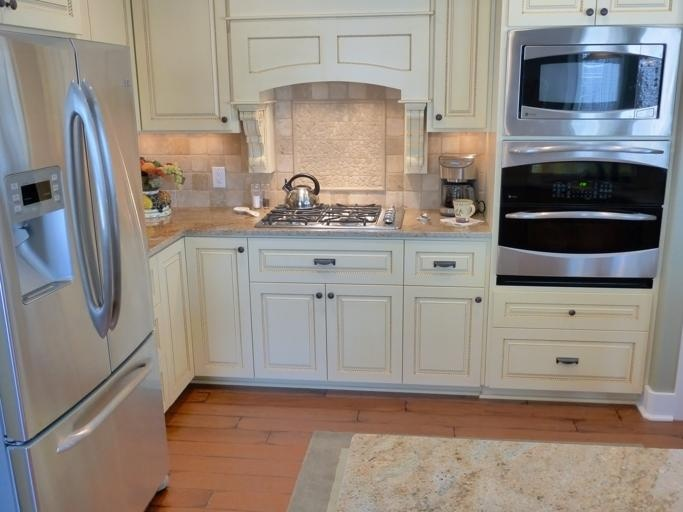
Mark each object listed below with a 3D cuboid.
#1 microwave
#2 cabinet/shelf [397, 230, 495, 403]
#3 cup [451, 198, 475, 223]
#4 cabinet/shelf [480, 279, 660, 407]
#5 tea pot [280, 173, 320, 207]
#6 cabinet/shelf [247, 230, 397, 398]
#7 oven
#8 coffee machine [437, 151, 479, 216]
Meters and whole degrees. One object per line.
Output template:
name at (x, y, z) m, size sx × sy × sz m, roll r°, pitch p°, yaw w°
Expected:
microwave at (1.551, -1.058, 3.014) m, size 0.874 × 0.514 × 0.517 m, roll 17°, pitch 33°, yaw 42°
cabinet/shelf at (0.684, 0.354, 3.449) m, size 0.665 × 1.043 × 0.633 m, roll -3°, pitch 12°, yaw -8°
cup at (0.774, -0.295, 3.305) m, size 0.115 × 0.126 × 0.172 m, roll -1°, pitch 25°, yaw 1°
cabinet/shelf at (1.427, 0.463, 3.458) m, size 1.027 × 0.916 × 0.731 m, roll 1°, pitch 12°, yaw 8°
tea pot at (-0.299, -0.459, 3.630) m, size 0.287 × 0.257 × 0.222 m, roll 6°, pitch 20°, yaw 6°
cabinet/shelf at (-0.114, 0.320, 3.265) m, size 1.034 × 0.958 × 0.428 m, roll 1°, pitch 11°, yaw 4°
oven at (1.363, -0.257, 3.406) m, size 1.100 × 1.058 × 0.809 m, roll 1°, pitch 15°, yaw 9°
coffee machine at (0.821, -0.492, 3.509) m, size 0.305 × 0.408 × 0.339 m, roll -1°, pitch 11°, yaw -1°
